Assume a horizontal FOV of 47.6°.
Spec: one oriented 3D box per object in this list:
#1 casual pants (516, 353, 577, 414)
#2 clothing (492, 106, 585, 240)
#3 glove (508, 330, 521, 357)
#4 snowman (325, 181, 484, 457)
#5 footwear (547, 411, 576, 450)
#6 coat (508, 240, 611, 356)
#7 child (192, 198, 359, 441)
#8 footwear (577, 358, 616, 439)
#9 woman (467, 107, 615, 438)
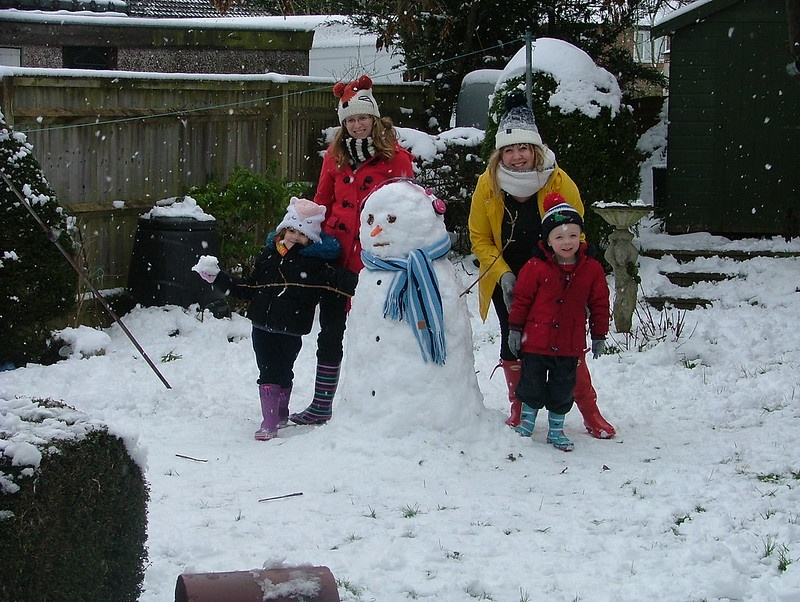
[{"bbox_3d":[0.958,0.450,5.771,0.345,0.505,0.193,7,26,1],"label":"casual pants"},{"bbox_3d":[0.862,-0.784,5.761,0.559,0.828,0.317,-16,10,-4],"label":"clothing"},{"bbox_3d":[0.736,0.266,5.711,0.047,0.148,0.104,1,-8,17],"label":"glove"},{"bbox_3d":[0.057,0.090,6.001,1.076,1.721,1.006,-2,-2,-18],"label":"snowman"},{"bbox_3d":[1.029,0.830,5.808,0.095,0.216,0.208,-1,12,-35],"label":"footwear"},{"bbox_3d":[0.984,-0.017,5.705,0.665,0.797,0.360,0,1,-5],"label":"coat"},{"bbox_3d":[-0.910,0.195,6.595,1.598,2.007,0.794,3,-1,7],"label":"child"},{"bbox_3d":[1.370,0.692,6.324,0.247,0.626,0.146,-12,30,19],"label":"footwear"},{"bbox_3d":[0.919,-0.223,6.132,0.831,2.433,0.763,-1,21,10],"label":"woman"}]
